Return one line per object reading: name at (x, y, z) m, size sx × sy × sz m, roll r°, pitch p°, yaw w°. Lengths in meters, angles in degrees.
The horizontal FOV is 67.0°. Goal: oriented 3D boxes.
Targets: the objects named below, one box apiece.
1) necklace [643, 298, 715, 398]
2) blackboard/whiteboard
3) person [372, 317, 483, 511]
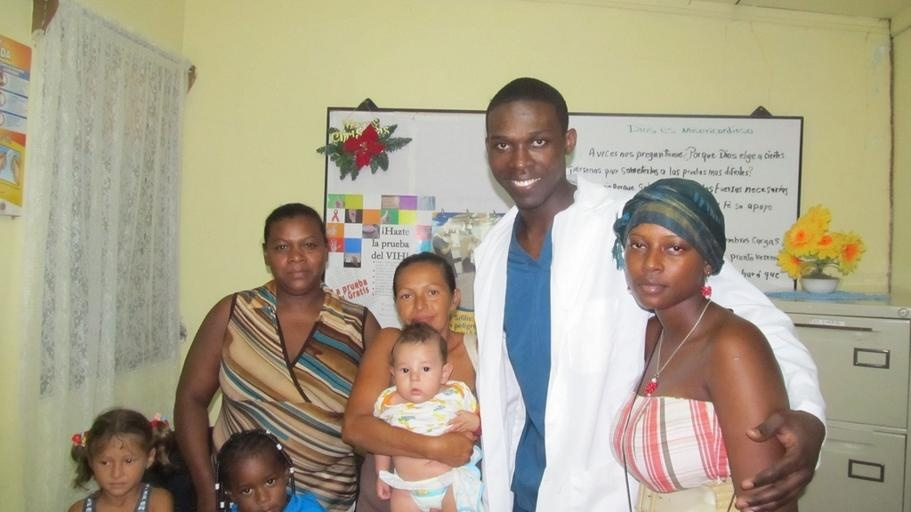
necklace at (1.131, 0.534, 3.701) m, size 0.207 × 0.694 × 0.081 m, roll 36°, pitch -4°, yaw 5°
blackboard/whiteboard at (0.842, -0.302, 4.564) m, size 2.091 × 1.165 × 0.024 m, roll 0°, pitch 6°, yaw 6°
person at (-0.144, 0.925, 3.935) m, size 0.640 × 1.073 × 0.225 m, roll 1°, pitch 1°, yaw -7°
